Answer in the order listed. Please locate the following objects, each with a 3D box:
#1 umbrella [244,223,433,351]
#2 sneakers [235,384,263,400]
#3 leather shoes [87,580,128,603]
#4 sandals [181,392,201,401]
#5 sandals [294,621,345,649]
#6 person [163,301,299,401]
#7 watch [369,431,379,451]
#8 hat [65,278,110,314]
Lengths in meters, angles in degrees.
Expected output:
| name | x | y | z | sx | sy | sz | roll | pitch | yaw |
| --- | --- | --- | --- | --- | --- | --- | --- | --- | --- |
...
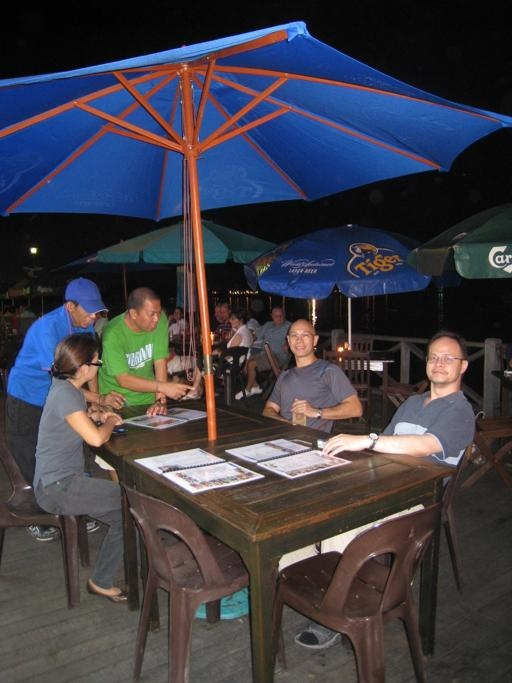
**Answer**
| name | x | y | z | sx | sy | sz | roll | pitch | yaw |
| --- | --- | --- | --- | --- | --- | --- | --- | --- | --- |
| umbrella | 0.908 | -0.595 | 5.773 | 1.150 | 0.686 | 1.184 | 3 | 12 | 34 |
| sneakers | -0.180 | 0.779 | 9.032 | 0.504 | 0.174 | 0.170 | -10 | 0 | -23 |
| leather shoes | -0.843 | 1.425 | 3.318 | 0.271 | 0.075 | 0.098 | 9 | 0 | 12 |
| sandals | -0.515 | 0.427 | 4.576 | 0.154 | 0.054 | 0.072 | 2 | 0 | 27 |
| sandals | 0.299 | 1.490 | 2.922 | 0.204 | 0.071 | 0.187 | 6 | 9 | 34 |
| person | -0.212 | 0.078 | 8.751 | 1.538 | 1.663 | 1.203 | 2 | -3 | -33 |
| watch | 0.592 | 0.508 | 2.923 | 0.063 | 0.088 | 0.098 | 4 | 17 | 7 |
| hat | -1.124 | -0.300 | 3.881 | 0.304 | 0.162 | 0.206 | 24 | 23 | 24 |
